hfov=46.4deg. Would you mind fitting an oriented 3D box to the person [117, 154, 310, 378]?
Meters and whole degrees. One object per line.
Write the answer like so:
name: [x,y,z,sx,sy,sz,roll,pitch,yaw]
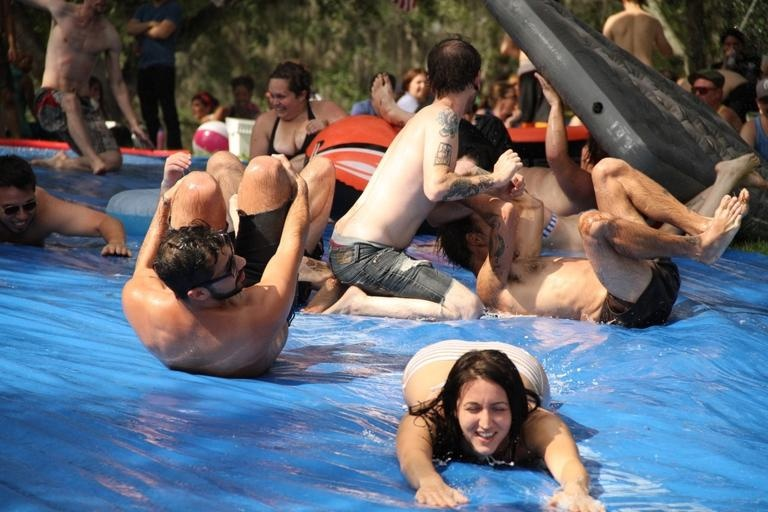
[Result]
person: [-0.922,0.247,5.265,1.032,1.262,1.191,14,67,6]
